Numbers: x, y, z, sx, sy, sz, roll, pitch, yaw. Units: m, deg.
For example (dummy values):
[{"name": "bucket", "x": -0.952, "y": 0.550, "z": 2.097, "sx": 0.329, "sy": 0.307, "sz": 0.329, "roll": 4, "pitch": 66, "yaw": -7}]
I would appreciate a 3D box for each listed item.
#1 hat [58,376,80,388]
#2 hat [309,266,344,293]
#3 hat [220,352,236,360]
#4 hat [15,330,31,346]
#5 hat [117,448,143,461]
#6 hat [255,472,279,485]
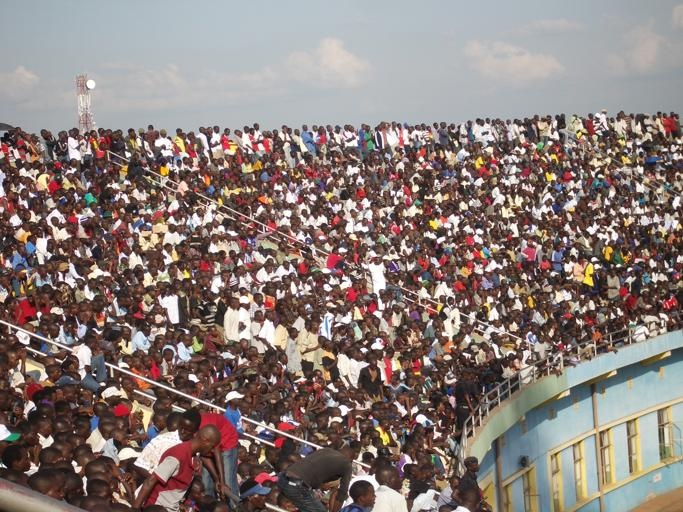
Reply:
[{"name": "hat", "x": -6.347, "y": 2.961, "z": 39.493, "sx": 0.393, "sy": 0.151, "sz": 0.254, "roll": 4, "pitch": 17, "yaw": -3}, {"name": "hat", "x": -0.390, "y": 0.684, "z": 47.176, "sx": 0.810, "sy": 0.366, "sz": 0.591, "roll": 32, "pitch": 35, "yaw": 5}, {"name": "hat", "x": -2.807, "y": 2.534, "z": 42.382, "sx": 0.364, "sy": 0.184, "sz": 0.306, "roll": 1, "pitch": -3, "yaw": -6}, {"name": "hat", "x": -7.548, "y": 1.996, "z": 40.366, "sx": 0.366, "sy": 0.345, "sz": 0.604, "roll": 2, "pitch": -3, "yaw": -11}, {"name": "hat", "x": -4.727, "y": 4.433, "z": 37.754, "sx": 0.391, "sy": 0.197, "sz": 0.284, "roll": -7, "pitch": 3, "yaw": 1}, {"name": "hat", "x": -1.661, "y": 4.993, "z": 37.930, "sx": 0.408, "sy": 0.116, "sz": 0.256, "roll": -2, "pitch": 13, "yaw": -20}]
